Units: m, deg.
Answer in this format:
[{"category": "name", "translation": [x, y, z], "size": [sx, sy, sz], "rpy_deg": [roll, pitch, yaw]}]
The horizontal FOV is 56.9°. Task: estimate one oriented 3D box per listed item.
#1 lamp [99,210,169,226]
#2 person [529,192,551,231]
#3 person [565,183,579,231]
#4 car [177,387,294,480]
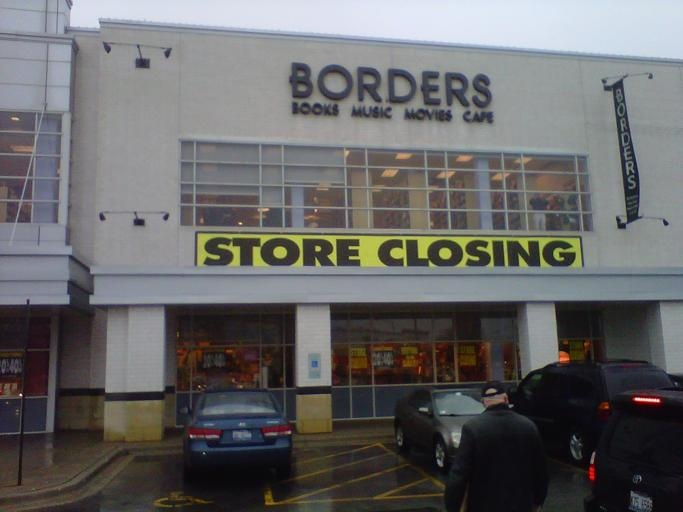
[{"category": "lamp", "translation": [-6.524, -1.220, 19.905], "size": [2.165, 0.556, 0.269], "rpy_deg": [1, -6, -13]}, {"category": "person", "translation": [7.008, -1.600, 22.319], "size": [0.646, 1.329, 0.291], "rpy_deg": [0, -6, 1]}, {"category": "person", "translation": [8.182, -1.628, 22.340], "size": [0.437, 1.373, 0.278], "rpy_deg": [-1, -6, 10]}, {"category": "car", "translation": [-2.274, 3.974, 13.705], "size": [2.205, 1.744, 1.424], "rpy_deg": [1, -6, -12]}]
